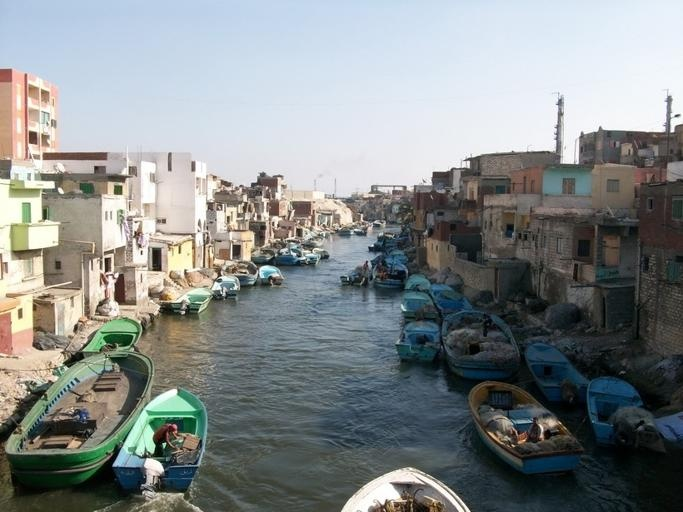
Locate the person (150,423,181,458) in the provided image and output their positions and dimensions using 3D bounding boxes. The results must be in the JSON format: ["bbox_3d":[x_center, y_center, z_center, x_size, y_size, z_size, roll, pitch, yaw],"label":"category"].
[{"bbox_3d":[-6.189,6.618,21.863,0.912,1.389,0.824,6,17,-26],"label":"person"}]
